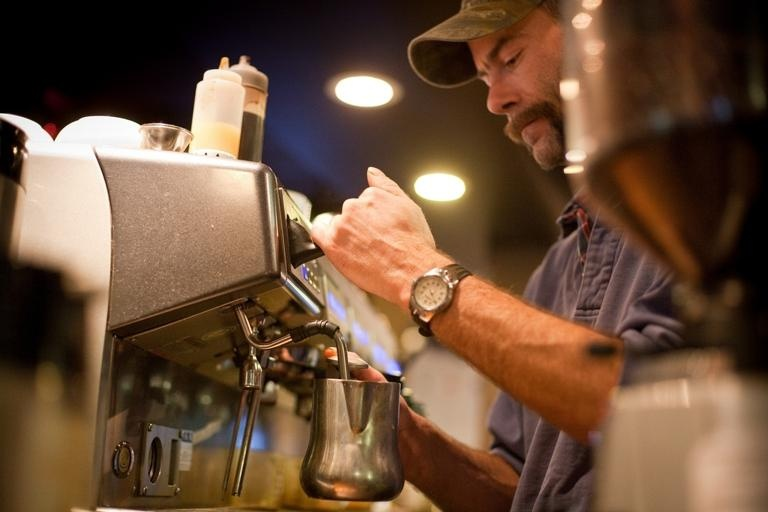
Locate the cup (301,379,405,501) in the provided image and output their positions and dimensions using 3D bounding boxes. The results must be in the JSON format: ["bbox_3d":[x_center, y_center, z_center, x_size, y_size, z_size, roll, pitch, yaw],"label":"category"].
[{"bbox_3d":[-0.015,0.255,1.042,0.189,0.196,0.143,1,-18,6],"label":"cup"}]

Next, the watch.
[{"bbox_3d":[0.078,0.065,1.167,0.073,0.115,0.116,32,-13,23],"label":"watch"}]
